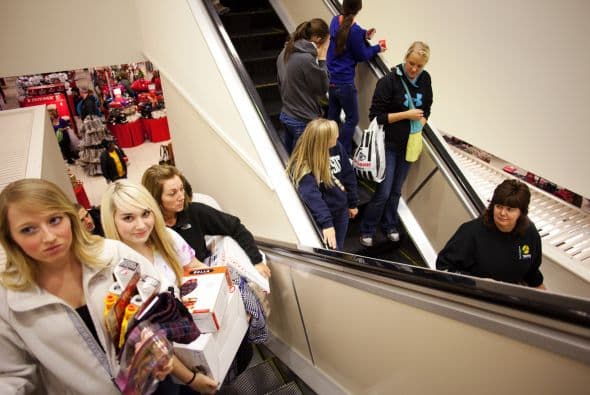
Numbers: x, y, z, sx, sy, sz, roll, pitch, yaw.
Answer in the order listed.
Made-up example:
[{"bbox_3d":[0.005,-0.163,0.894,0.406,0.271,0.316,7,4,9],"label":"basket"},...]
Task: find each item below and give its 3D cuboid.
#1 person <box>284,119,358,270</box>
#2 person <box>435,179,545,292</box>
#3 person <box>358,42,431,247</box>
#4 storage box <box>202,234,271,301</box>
[{"bbox_3d":[0.290,-0.080,3.349,0.686,1.301,0.606,-8,21,-5],"label":"person"},{"bbox_3d":[1.423,0.331,2.551,0.792,0.790,0.241,-11,21,-12],"label":"person"},{"bbox_3d":[1.004,-0.466,3.563,0.763,1.978,0.388,-4,21,6],"label":"person"},{"bbox_3d":[-0.475,0.492,2.795,0.132,0.480,0.501,-42,59,1],"label":"storage box"}]
